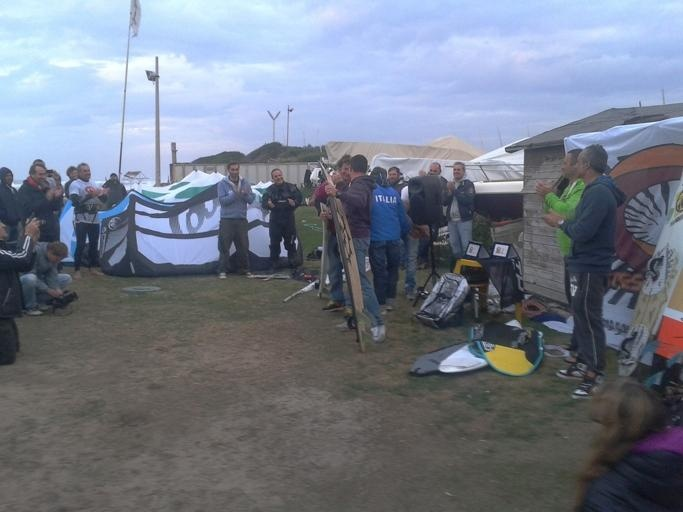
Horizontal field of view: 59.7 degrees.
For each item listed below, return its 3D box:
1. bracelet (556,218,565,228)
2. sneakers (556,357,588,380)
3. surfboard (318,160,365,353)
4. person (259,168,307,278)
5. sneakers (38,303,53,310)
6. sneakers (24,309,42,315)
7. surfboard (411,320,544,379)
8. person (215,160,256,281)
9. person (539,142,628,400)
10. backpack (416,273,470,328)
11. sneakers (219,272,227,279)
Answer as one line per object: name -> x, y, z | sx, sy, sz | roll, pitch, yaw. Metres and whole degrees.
bracelet -> 2.235, -0.343, 6.075 | 0.018, 0.074, 0.075 | 3, 11, -29
sneakers -> 2.445, 1.216, 6.332 | 0.349, 0.166, 0.132 | -1, 1, 23
surfboard -> -0.098, -0.047, 7.299 | 0.270, 2.390, 0.452 | -18, -18, 19
person -> -1.139, -0.704, 11.916 | 0.727, 2.062, 1.070 | 3, 10, 19
sneakers -> -4.293, 0.729, 8.604 | 0.132, 0.046, 0.091 | -8, 7, -35
sneakers -> -4.361, 0.785, 8.380 | 0.263, 0.107, 0.086 | -3, 6, 9
surfboard -> 1.665, 1.088, 6.671 | 1.189, 0.206, 0.661 | -7, 10, -27
person -> -2.060, -0.712, 11.455 | 0.701, 2.191, 0.580 | -3, 10, -19
person -> 2.467, 0.129, 5.908 | 0.517, 2.442, 0.641 | 1, 9, 3
backpack -> 1.441, 0.632, 8.087 | 0.519, 0.844, 0.334 | 20, -18, 37
sneakers -> -2.263, 0.367, 11.341 | 0.118, 0.070, 0.116 | 2, 2, 11
